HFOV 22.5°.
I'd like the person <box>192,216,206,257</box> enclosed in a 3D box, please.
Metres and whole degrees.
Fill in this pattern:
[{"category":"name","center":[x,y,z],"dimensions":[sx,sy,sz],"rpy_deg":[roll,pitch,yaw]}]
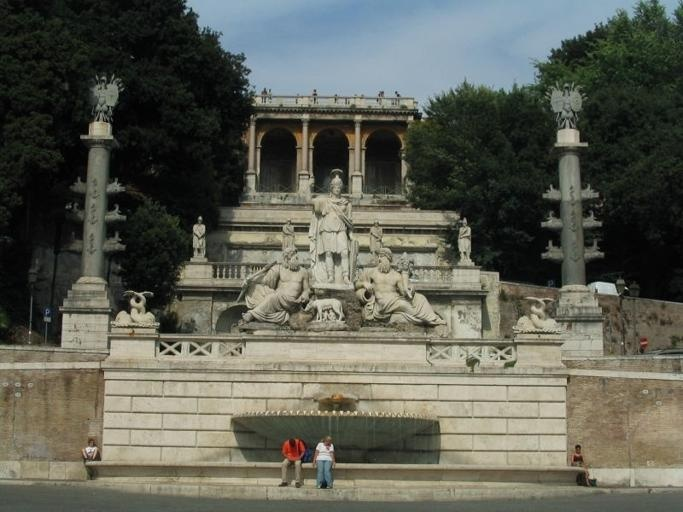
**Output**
[{"category":"person","center":[-6.095,-0.797,72.421],"dimensions":[0.514,1.808,1.102],"rpy_deg":[2,-7,-6]}]

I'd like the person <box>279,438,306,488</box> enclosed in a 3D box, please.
[{"category":"person","center":[-1.722,6.887,57.427],"dimensions":[0.837,1.583,0.971],"rpy_deg":[1,-7,3]}]

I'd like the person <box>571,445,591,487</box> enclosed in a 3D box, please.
[{"category":"person","center":[8.199,7.201,59.320],"dimensions":[0.663,1.425,0.888],"rpy_deg":[0,-7,8]}]

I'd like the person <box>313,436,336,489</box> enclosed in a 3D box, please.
[{"category":"person","center":[-0.641,6.825,56.988],"dimensions":[0.650,1.729,1.399],"rpy_deg":[1,-7,-1]}]

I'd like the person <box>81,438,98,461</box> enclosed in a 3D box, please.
[{"category":"person","center":[-8.724,6.646,59.179],"dimensions":[0.580,0.860,0.985],"rpy_deg":[2,-7,-9]}]
